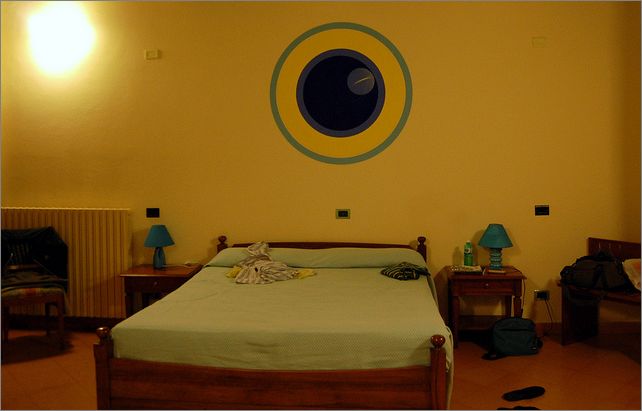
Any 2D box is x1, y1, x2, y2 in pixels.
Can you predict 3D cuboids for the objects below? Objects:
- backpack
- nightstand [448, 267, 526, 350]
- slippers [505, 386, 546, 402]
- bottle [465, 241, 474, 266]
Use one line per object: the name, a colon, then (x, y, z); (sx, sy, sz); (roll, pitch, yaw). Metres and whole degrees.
backpack: (3.150, 0.797, 5.870); (0.647, 0.488, 0.295); (-7, -33, 40)
nightstand: (2.010, 1.343, 6.421); (1.123, 1.088, 0.872); (-1, 0, 6)
slippers: (2.099, 1.980, 5.267); (0.429, 0.117, 0.156); (-7, 11, 7)
bottle: (1.819, 0.597, 6.286); (0.092, 0.258, 0.210); (0, 0, 12)
